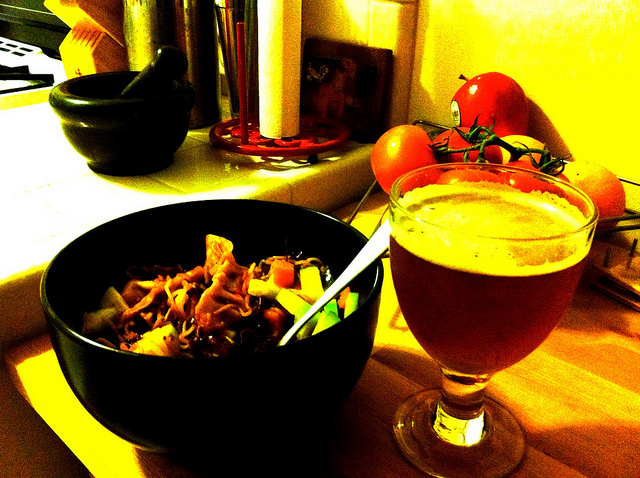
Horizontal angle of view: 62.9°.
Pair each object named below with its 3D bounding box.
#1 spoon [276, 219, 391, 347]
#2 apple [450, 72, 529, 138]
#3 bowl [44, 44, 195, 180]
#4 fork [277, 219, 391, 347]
[{"bbox_3d":[0.008,0.044,0.559,0.023,0.184,0.024,23,22,-37],"label":"spoon"},{"bbox_3d":[0.302,-0.235,0.918,0.141,0.108,0.150,16,33,16],"label":"apple"},{"bbox_3d":[-0.308,-0.218,1.002,0.281,0.226,0.259,2,27,-1],"label":"bowl"},{"bbox_3d":[0.009,0.044,0.559,0.028,0.188,0.030,19,31,-37],"label":"fork"}]
